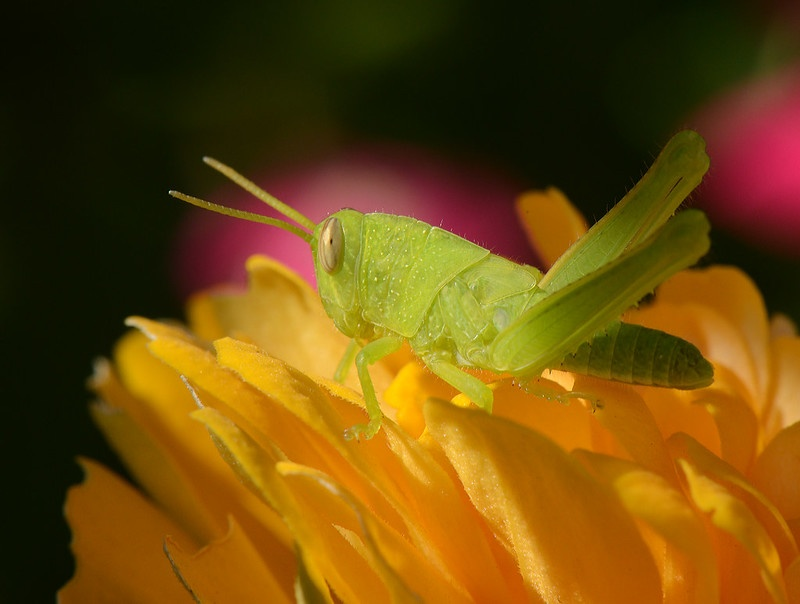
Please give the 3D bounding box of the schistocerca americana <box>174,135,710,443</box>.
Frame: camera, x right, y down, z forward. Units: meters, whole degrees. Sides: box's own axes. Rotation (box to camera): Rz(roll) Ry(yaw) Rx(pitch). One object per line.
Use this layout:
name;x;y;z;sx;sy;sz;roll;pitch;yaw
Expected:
schistocerca americana;0.087;-0.035;1.038;0.540;0.360;0.219;13;29;19
